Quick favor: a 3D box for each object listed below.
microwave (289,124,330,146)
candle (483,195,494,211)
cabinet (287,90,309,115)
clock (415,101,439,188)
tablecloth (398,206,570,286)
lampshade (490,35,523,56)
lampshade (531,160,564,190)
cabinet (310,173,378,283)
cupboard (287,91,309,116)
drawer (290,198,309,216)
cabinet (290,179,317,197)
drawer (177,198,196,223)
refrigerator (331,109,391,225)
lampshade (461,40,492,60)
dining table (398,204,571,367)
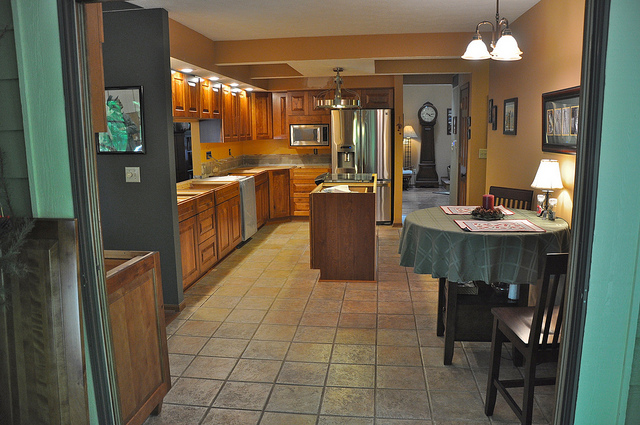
[{"bbox_3d":[-0.228,-1.470,8.192,0.660,0.412,0.413,0,4,6],"label":"microwave"},{"bbox_3d":[1.507,-0.101,3.839,0.120,0.194,0.118,0,2,30],"label":"candle"},{"bbox_3d":[-0.402,-2.057,8.253,0.477,0.457,0.318,1,6,13],"label":"cabinet"},{"bbox_3d":[3.162,-2.035,12.778,0.760,2.321,0.230,3,9,9],"label":"clock"},{"bbox_3d":[1.273,0.152,3.588,1.060,0.597,1.300,2,8,4],"label":"tablecloth"},{"bbox_3d":[1.399,-1.242,3.257,0.165,0.098,0.162,-1,10,0],"label":"lampshade"},{"bbox_3d":[1.924,-0.319,3.730,0.270,0.257,0.242,-4,6,-30],"label":"lampshade"},{"bbox_3d":[0.373,0.362,6.240,0.832,1.064,2.227,0,-4,5],"label":"cabinet"},{"bbox_3d":[-0.415,-2.039,8.141,0.427,0.411,0.434,0,10,1],"label":"cupboard"},{"bbox_3d":[-0.369,-0.148,8.354,0.552,0.376,0.281,0,4,5],"label":"drawer"},{"bbox_3d":[-0.343,-0.473,8.182,0.613,0.416,0.309,0,6,3],"label":"cabinet"},{"bbox_3d":[-1.478,-0.033,4.787,0.195,0.166,0.375,-2,6,-2],"label":"drawer"},{"bbox_3d":[0.766,-0.939,8.259,1.186,1.911,0.904,2,9,5],"label":"refrigerator"},{"bbox_3d":[1.243,-1.265,3.445,0.173,0.103,0.171,-13,15,-43],"label":"lampshade"},{"bbox_3d":[1.242,0.588,3.843,1.152,1.138,1.573,3,8,6],"label":"dining table"}]
